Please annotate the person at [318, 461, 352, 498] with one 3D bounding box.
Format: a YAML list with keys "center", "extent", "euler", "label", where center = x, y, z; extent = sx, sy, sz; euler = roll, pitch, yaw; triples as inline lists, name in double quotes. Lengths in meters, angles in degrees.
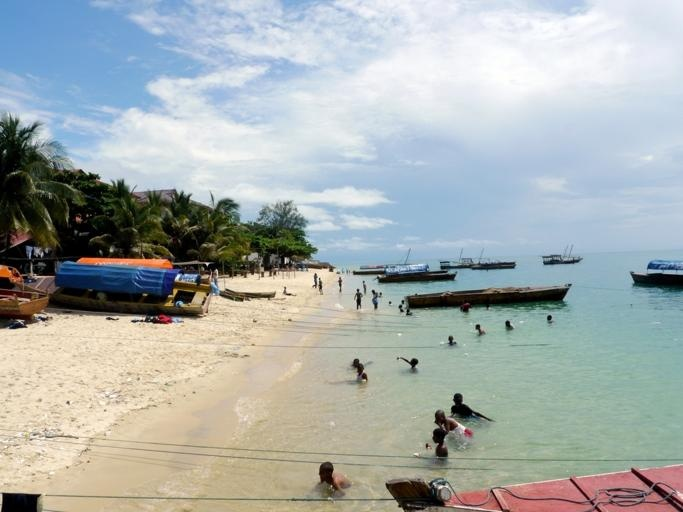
- center: [-0.261, 6.299, 14.715]
  extent: [1.111, 0.770, 0.632]
  euler: [2, 3, 20]
  label: "person"

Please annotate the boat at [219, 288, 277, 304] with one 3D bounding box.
- center: [-7.054, 3.224, 40.486]
  extent: [4.641, 0.572, 1.309]
  euler: [5, 10, -39]
  label: "boat"

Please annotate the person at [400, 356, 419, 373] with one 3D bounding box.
- center: [3.061, 4.912, 23.070]
  extent: [1.056, 0.259, 0.826]
  euler: [-5, 21, 16]
  label: "person"

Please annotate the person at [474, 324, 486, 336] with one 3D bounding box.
- center: [8.087, 4.348, 30.057]
  extent: [0.732, 0.585, 0.710]
  euler: [4, 12, 12]
  label: "person"
